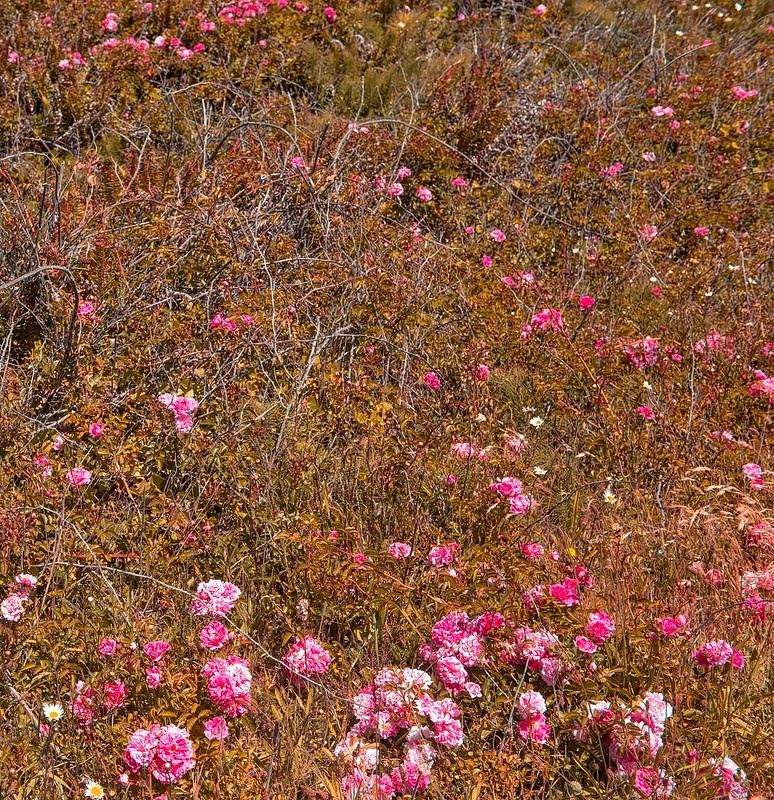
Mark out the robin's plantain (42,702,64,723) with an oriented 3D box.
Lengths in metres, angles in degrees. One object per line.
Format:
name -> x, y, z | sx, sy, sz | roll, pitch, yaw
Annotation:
robin's plantain -> -1.146, 1.078, 5.149 | 0.062, 0.065, 0.025 | 36, 90, 34
